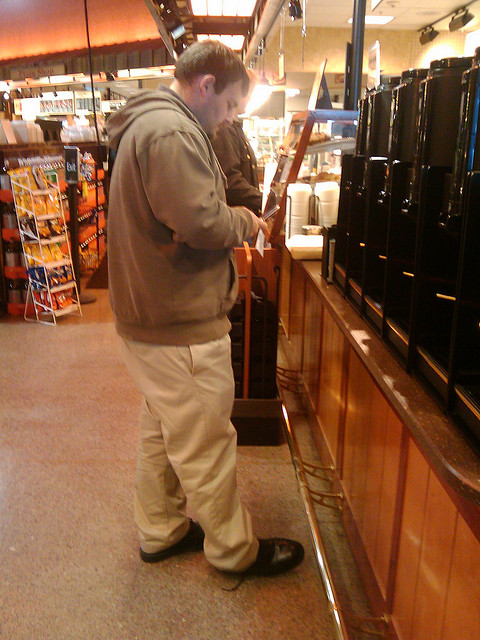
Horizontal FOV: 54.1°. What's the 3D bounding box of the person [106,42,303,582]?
[{"bbox_3d":[-0.135,0.061,1.536,0.505,1.733,0.515,-10,16,-35],"label":"person"}]
